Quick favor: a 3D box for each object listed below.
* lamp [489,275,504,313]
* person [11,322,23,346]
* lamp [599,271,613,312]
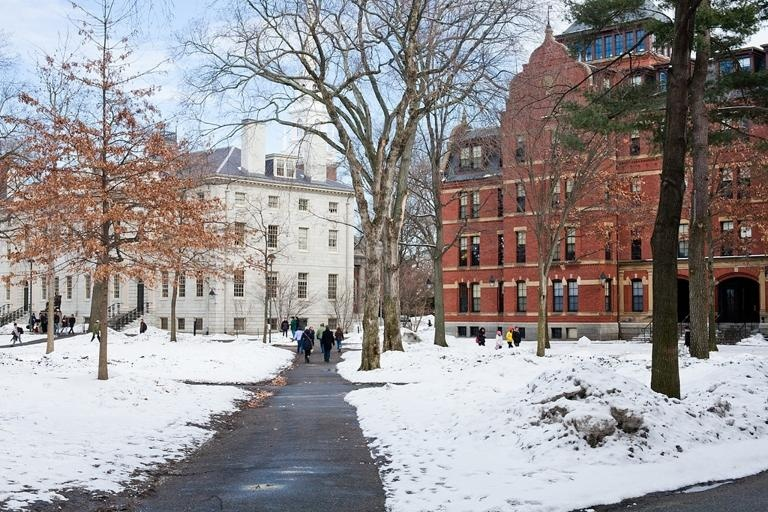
[{"bbox_3d":[8.438,2.951,63.910,0.619,2.541,1.333,-3,5,4],"label":"lamp"},{"bbox_3d":[-24.395,5.206,57.509,1.097,1.665,1.229,2,-12,-28],"label":"person"},{"bbox_3d":[15.092,2.430,58.681,1.234,2.654,0.440,-8,7,-43],"label":"lamp"}]
